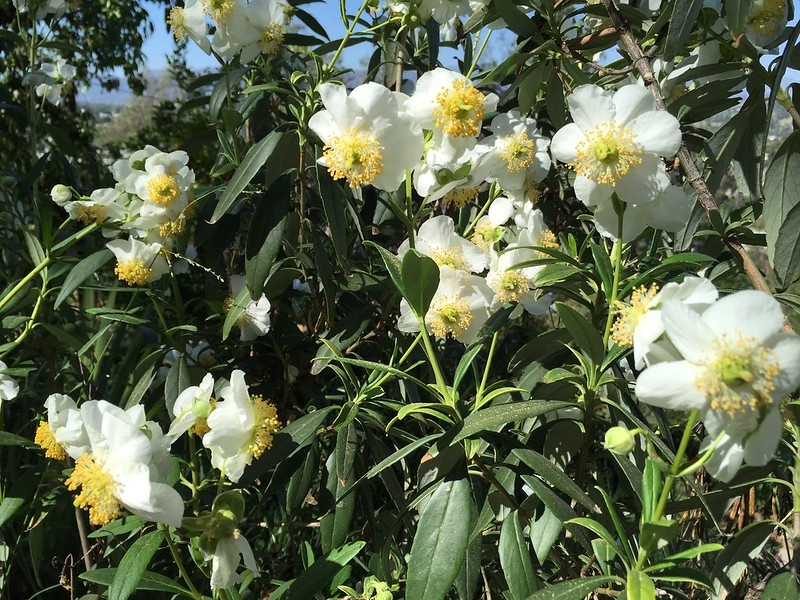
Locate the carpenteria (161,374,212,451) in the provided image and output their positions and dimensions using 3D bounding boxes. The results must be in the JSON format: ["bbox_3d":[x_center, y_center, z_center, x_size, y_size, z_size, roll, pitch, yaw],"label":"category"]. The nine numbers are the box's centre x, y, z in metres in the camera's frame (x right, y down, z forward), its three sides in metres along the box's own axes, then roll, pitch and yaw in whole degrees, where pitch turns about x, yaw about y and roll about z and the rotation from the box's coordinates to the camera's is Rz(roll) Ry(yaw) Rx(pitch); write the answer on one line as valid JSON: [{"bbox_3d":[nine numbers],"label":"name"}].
[{"bbox_3d":[-0.408,0.225,1.506,0.097,0.105,0.057,12,36,-43],"label":"carpenteria"}]

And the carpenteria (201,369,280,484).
[{"bbox_3d":[-0.300,0.261,1.525,0.127,0.214,0.199,6,15,10],"label":"carpenteria"}]

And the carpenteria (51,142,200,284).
[{"bbox_3d":[-0.607,-0.218,1.796,0.300,0.305,0.304,-18,43,-34],"label":"carpenteria"}]

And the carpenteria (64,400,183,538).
[{"bbox_3d":[-0.512,0.311,1.435,0.219,0.241,0.124,-19,-8,-16],"label":"carpenteria"}]
